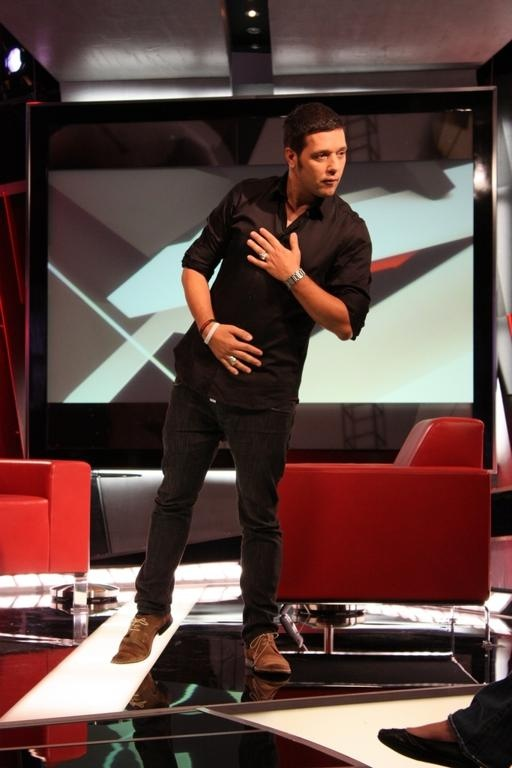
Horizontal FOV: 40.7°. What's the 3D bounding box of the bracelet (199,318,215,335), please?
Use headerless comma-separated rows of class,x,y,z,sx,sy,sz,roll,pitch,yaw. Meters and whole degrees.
bracelet,-0.133,-0.148,1.783,0.042,0.011,0.040,-41,-12,-44

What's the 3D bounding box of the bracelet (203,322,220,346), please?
bracelet,-0.115,-0.127,1.760,0.014,0.048,0.051,32,14,2

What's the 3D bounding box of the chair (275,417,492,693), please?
chair,0.403,0.552,2.426,0.859,0.797,0.828,-3,-2,32

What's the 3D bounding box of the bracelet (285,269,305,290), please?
bracelet,0.095,-0.254,1.669,0.044,0.030,0.047,-5,-34,-50

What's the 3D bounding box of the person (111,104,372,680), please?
person,-0.002,0.026,1.806,0.609,1.433,0.296,-7,-14,38

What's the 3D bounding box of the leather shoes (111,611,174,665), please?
leather shoes,-0.293,0.653,1.862,0.074,0.090,0.219,-10,23,31

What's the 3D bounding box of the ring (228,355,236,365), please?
ring,-0.060,-0.060,1.722,0.013,0.017,0.018,-5,10,-42

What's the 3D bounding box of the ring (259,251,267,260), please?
ring,0.015,-0.318,1.703,0.016,0.021,0.008,-1,20,23
